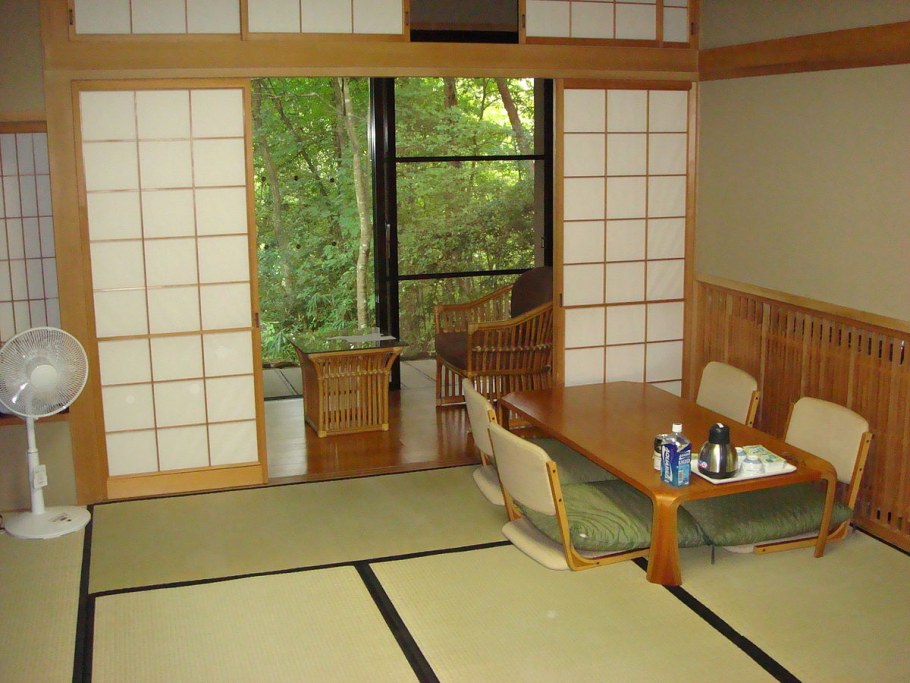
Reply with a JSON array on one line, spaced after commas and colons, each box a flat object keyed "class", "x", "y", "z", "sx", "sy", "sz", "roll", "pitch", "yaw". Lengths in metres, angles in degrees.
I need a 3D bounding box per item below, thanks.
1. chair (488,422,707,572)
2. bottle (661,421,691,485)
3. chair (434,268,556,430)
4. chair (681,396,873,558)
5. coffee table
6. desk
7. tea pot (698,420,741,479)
[{"class": "chair", "x": 0.723, "y": 0.748, "z": 3.798, "sx": 0.950, "sy": 0.613, "sz": 0.705, "roll": -7, "pitch": 23, "yaw": -19}, {"class": "bottle", "x": 1.081, "y": 0.559, "z": 3.544, "sx": 0.108, "sy": 0.337, "sz": 0.198, "roll": -6, "pitch": 12, "yaw": -21}, {"class": "chair", "x": 0.373, "y": -0.010, "z": 6.285, "sx": 1.180, "sy": 1.411, "sz": 1.150, "roll": -3, "pitch": 9, "yaw": -17}, {"class": "chair", "x": 1.726, "y": 0.742, "z": 4.011, "sx": 1.032, "sy": 0.731, "sz": 0.694, "roll": -11, "pitch": 15, "yaw": -11}, {"class": "coffee table", "x": -0.937, "y": 0.362, "z": 6.259, "sx": 0.909, "sy": 0.713, "sz": 0.796, "roll": -2, "pitch": 16, "yaw": -11}, {"class": "desk", "x": 1.081, "y": 1.034, "z": 4.216, "sx": 0.919, "sy": 0.404, "sz": 1.614, "roll": -5, "pitch": 14, "yaw": -16}, {"class": "tea pot", "x": 1.285, "y": 0.525, "z": 3.539, "sx": 0.222, "sy": 0.346, "sz": 0.216, "roll": 0, "pitch": 4, "yaw": 0}]
